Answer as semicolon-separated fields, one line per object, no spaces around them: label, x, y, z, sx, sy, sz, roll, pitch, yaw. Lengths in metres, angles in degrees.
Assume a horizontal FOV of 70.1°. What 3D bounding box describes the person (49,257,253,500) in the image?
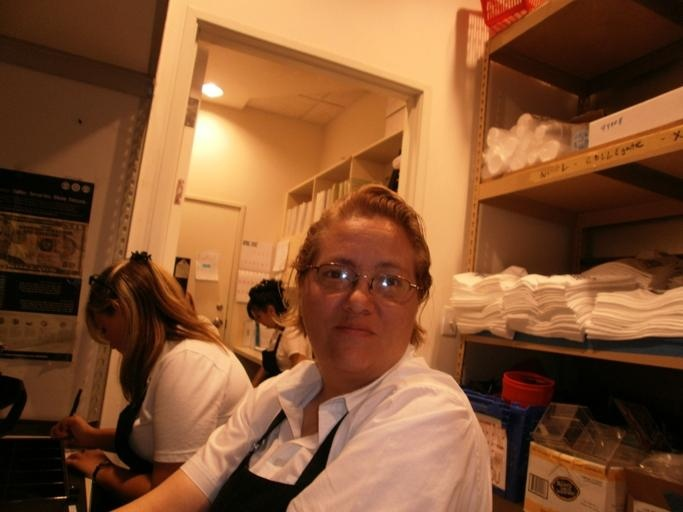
person;-0.769;0.496;2.080;0.840;0.952;0.893;2;-1;-40
